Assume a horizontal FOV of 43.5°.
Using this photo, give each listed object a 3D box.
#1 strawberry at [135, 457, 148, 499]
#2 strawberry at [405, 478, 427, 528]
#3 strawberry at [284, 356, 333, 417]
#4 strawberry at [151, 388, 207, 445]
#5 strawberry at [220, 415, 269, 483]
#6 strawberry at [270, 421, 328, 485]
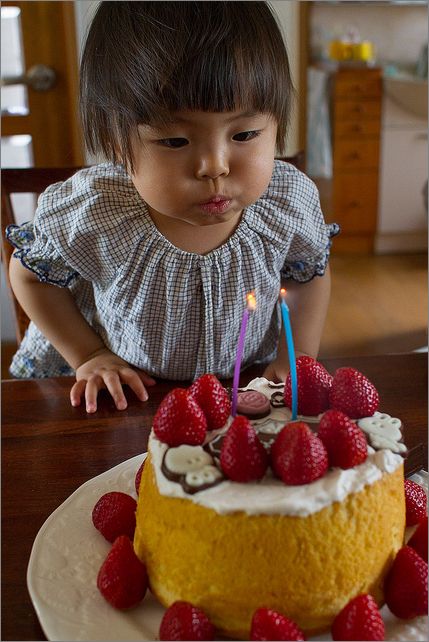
[{"bbox_3d":[-0.078,0.161,0.553,0.022,0.040,0.032,-2,-17,-10],"label":"strawberry"},{"bbox_3d":[0.199,0.178,0.531,0.025,0.041,0.031,-5,22,26],"label":"strawberry"},{"bbox_3d":[0.095,0.072,0.554,0.042,0.056,0.045,-6,34,3],"label":"strawberry"},{"bbox_3d":[-0.032,0.075,0.459,0.039,0.049,0.030,-1,6,-4],"label":"strawberry"},{"bbox_3d":[0.023,0.102,0.423,0.038,0.047,0.027,6,27,12],"label":"strawberry"},{"bbox_3d":[0.069,0.104,0.449,0.044,0.046,0.046,-11,4,-39],"label":"strawberry"}]
